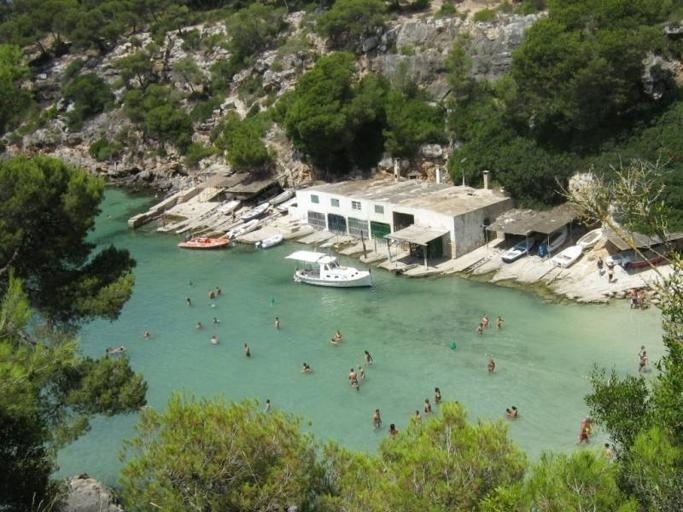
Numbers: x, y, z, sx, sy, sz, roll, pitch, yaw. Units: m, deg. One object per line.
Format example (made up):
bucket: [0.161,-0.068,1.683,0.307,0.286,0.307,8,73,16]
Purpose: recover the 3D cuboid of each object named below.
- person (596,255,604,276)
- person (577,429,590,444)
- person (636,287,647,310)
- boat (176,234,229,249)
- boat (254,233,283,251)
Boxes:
person: [33.030,1.235,110.273,0.748,0.771,2.131,-2,-21,30]
person: [24.673,18.362,87.620,0.640,2.203,1.110,16,-4,27]
person: [36.056,5.135,103.940,1.281,0.832,2.023,-26,52,4]
boat: [-21.936,-2.134,137.302,5.018,1.823,3.726,-2,22,10]
boat: [-11.094,-2.484,134.621,4.017,1.694,2.047,-32,46,-29]
